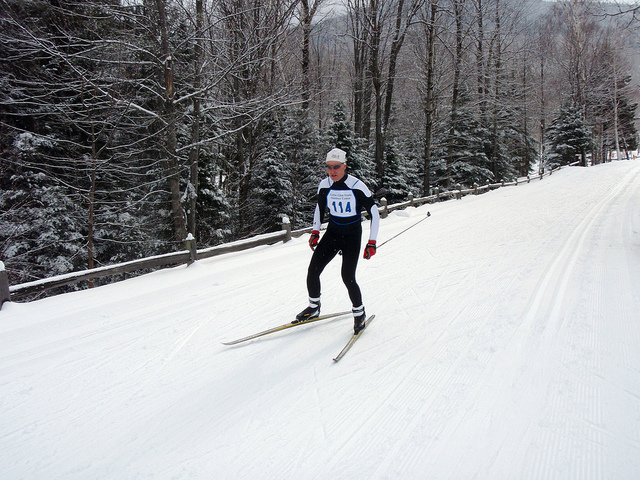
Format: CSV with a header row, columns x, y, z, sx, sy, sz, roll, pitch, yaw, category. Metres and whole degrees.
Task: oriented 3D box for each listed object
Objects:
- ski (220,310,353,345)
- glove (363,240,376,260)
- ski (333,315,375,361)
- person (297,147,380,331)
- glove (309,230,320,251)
x,y,z,sx,sy,sz,roll,pitch,yaw,category
-0.520,1.477,7.719,1.794,0.219,0.193,-8,-10,-24,ski
0.823,0.150,7.577,0.163,0.308,0.089,17,6,3,glove
0.552,1.573,7.345,0.881,0.125,0.105,-44,-8,-41,ski
0.342,-0.022,7.710,1.221,2.920,0.606,-1,5,22,person
-0.088,0.008,7.832,0.079,0.296,0.182,2,-6,18,glove
